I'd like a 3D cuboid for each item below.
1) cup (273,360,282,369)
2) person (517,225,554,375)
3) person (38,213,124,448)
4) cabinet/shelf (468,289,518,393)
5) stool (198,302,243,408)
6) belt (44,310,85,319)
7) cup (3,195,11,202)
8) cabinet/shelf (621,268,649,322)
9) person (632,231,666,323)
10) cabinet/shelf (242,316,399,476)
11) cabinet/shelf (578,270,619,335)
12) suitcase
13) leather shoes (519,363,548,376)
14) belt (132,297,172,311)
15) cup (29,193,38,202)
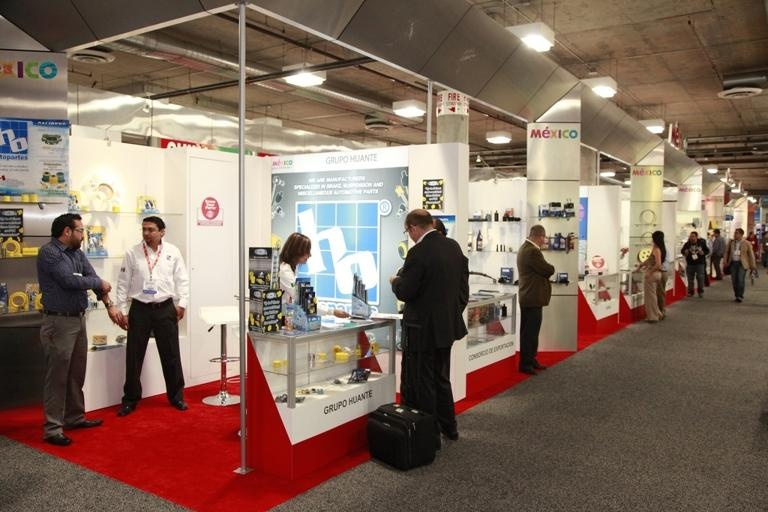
[{"bbox_3d":[-0.999,1.018,4.761,0.074,0.049,0.076,-1,-1,0],"label":"cup"},{"bbox_3d":[2.247,0.657,7.622,0.498,2.208,0.336,2,6,15],"label":"person"},{"bbox_3d":[-3.383,0.758,5.441,0.529,2.377,0.650,-3,7,-30],"label":"person"},{"bbox_3d":[1.302,1.189,7.192,0.520,1.279,1.368,-3,-2,44],"label":"cabinet/shelf"},{"bbox_3d":[-2.114,1.222,6.532,0.443,1.264,1.272,-1,7,-18],"label":"stool"},{"bbox_3d":[-3.450,0.632,5.459,0.367,0.094,0.124,-3,7,-29],"label":"belt"},{"bbox_3d":[-4.448,-0.674,5.990,0.068,0.078,0.068,0,-6,0],"label":"cup"},{"bbox_3d":[5.690,0.887,11.506,0.397,1.088,1.170,0,2,31],"label":"cabinet/shelf"},{"bbox_3d":[6.028,0.448,11.325,0.495,2.042,1.011,4,7,28],"label":"person"},{"bbox_3d":[-0.592,1.386,5.331,0.580,1.348,1.615,-1,-2,34],"label":"cabinet/shelf"},{"bbox_3d":[4.511,0.989,10.636,0.439,1.088,1.267,3,3,42],"label":"cabinet/shelf"},{"bbox_3d":[0.188,1.825,5.157,0.681,0.508,0.529,0,3,35],"label":"suitcase"},{"bbox_3d":[2.251,1.724,7.674,0.451,0.201,0.148,-8,-6,30],"label":"leather shoes"},{"bbox_3d":[-2.818,0.607,6.184,0.507,0.188,0.130,-2,6,-20],"label":"belt"},{"bbox_3d":[-4.182,-0.692,6.003,0.090,0.106,0.091,2,4,0],"label":"cup"}]
